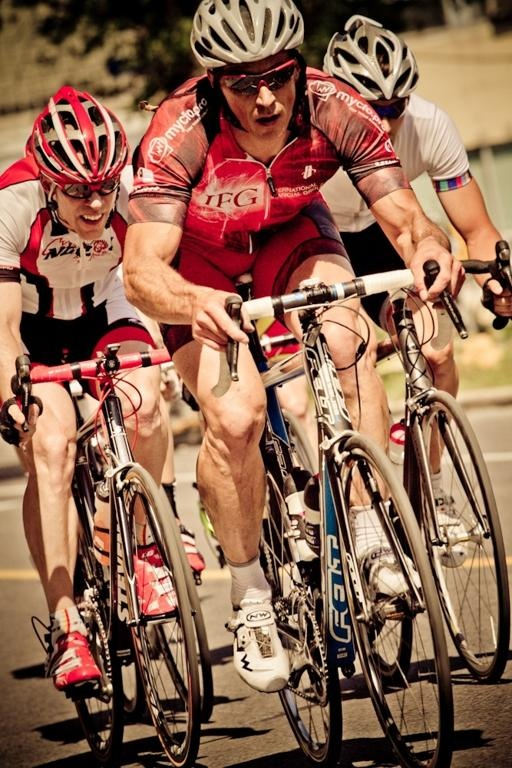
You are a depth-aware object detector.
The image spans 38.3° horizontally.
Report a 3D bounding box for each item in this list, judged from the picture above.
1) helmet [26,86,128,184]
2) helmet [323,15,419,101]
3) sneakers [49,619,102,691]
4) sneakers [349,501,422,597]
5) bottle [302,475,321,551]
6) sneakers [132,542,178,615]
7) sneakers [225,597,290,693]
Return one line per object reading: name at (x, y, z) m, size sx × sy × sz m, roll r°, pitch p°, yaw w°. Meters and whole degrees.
helmet at (-0.726, -1.064, 3.127) m, size 0.333 × 0.423 × 0.146 m, roll 21°, pitch -23°, yaw -22°
helmet at (0.557, -1.678, 3.696) m, size 0.395 × 0.167 × 0.518 m, roll 9°, pitch 7°, yaw 21°
sneakers at (-0.694, 1.006, 2.751) m, size 0.144 × 0.186 × 0.402 m, roll -8°, pitch -6°, yaw -13°
sneakers at (0.336, 0.455, 2.000) m, size 0.138 × 0.055 × 0.233 m, roll -1°, pitch 48°, yaw -17°
bottle at (0.173, 0.411, 2.268) m, size 0.054 × 0.245 × 0.099 m, roll -6°, pitch 16°, yaw 3°
sneakers at (-0.364, 0.695, 2.605) m, size 0.108 × 0.177 × 0.292 m, roll -21°, pitch 48°, yaw 3°
sneakers at (0.011, 0.877, 2.512) m, size 0.185 × 0.164 × 0.430 m, roll -10°, pitch 11°, yaw -5°
